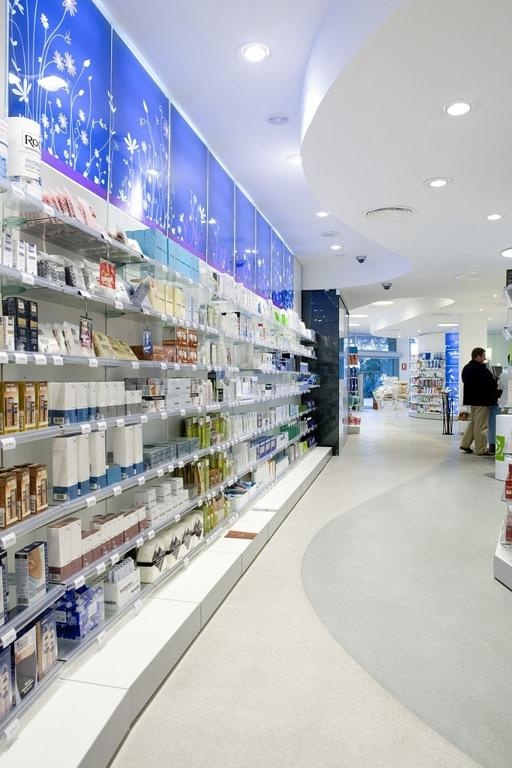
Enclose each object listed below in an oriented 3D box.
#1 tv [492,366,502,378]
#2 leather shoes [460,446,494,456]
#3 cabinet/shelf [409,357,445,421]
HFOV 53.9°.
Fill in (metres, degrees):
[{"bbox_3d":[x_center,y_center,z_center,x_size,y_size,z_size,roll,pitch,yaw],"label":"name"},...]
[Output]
[{"bbox_3d":[4.991,-0.248,10.459,0.226,0.255,0.055,4,-5,-36],"label":"tv"},{"bbox_3d":[4.183,1.268,9.542,0.414,0.216,0.144,-6,-7,44],"label":"leather shoes"},{"bbox_3d":[6.392,0.210,18.750,0.782,2.882,1.938,1,-3,-8],"label":"cabinet/shelf"}]
